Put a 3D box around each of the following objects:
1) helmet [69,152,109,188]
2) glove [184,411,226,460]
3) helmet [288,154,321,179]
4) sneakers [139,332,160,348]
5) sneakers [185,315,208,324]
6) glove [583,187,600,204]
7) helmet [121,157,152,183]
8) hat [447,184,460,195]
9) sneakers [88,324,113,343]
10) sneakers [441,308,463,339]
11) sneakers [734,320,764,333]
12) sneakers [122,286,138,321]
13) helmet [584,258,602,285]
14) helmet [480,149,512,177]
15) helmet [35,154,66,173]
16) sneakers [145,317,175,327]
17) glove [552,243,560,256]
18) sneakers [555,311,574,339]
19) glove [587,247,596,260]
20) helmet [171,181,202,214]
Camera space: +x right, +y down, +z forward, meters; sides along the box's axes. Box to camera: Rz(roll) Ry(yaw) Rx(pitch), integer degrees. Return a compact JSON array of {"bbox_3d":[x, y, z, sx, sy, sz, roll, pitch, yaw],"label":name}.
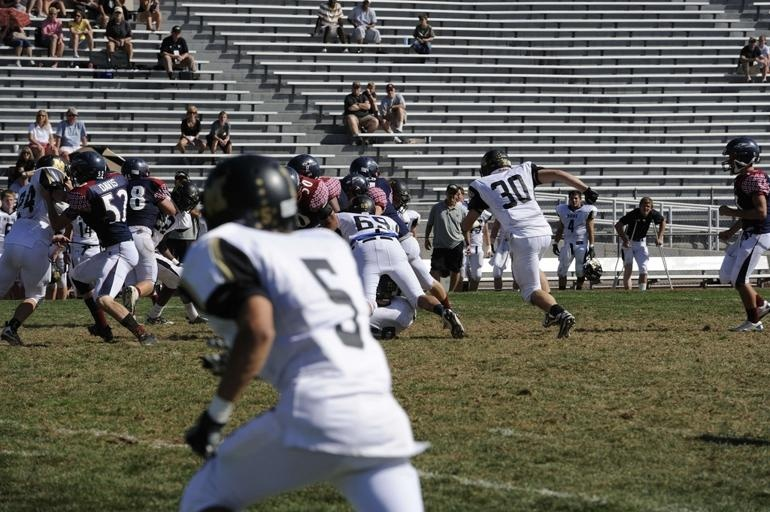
[{"bbox_3d":[-4.803,-1.429,19.698,0.616,0.566,0.485,20,26,33],"label":"helmet"},{"bbox_3d":[-2.102,2.150,14.660,0.269,0.539,0.805,30,6,14],"label":"glove"},{"bbox_3d":[-1.317,-1.501,20.134,0.484,0.362,0.397,-2,-8,-12],"label":"helmet"},{"bbox_3d":[-3.803,1.349,19.592,0.193,0.122,0.265,10,0,-31],"label":"sneakers"},{"bbox_3d":[-3.295,1.104,21.330,0.292,0.139,0.425,-1,3,-17],"label":"sneakers"},{"bbox_3d":[3.352,-0.972,19.438,0.274,0.273,0.095,-10,-25,27],"label":"glove"},{"bbox_3d":[-4.196,-1.463,20.623,0.378,0.384,0.468,12,18,18],"label":"helmet"},{"bbox_3d":[1.434,-1.378,25.111,0.183,0.231,0.223,7,7,17],"label":"hat"},{"bbox_3d":[-4.635,1.250,19.970,0.526,0.284,0.282,1,3,23],"label":"sneakers"},{"bbox_3d":[1.127,1.105,20.103,0.223,0.605,0.269,-43,26,-22],"label":"sneakers"},{"bbox_3d":[6.123,1.181,20.400,0.482,0.199,0.195,1,2,-3],"label":"sneakers"},{"bbox_3d":[-4.191,0.726,20.037,0.230,0.636,0.283,-2,-15,-14],"label":"sneakers"},{"bbox_3d":[4.469,0.303,26.107,0.376,0.471,0.511,-3,0,-20],"label":"helmet"},{"bbox_3d":[1.842,-1.540,20.152,0.390,0.444,0.468,-5,8,-8],"label":"helmet"},{"bbox_3d":[-5.415,-1.498,19.764,0.439,0.274,0.418,-1,3,-16],"label":"helmet"},{"bbox_3d":[-3.900,1.140,21.217,0.536,0.236,0.179,0,7,-10],"label":"sneakers"},{"bbox_3d":[3.739,-0.114,26.357,0.160,0.265,0.266,-6,15,1],"label":"glove"},{"bbox_3d":[2.891,1.066,19.420,0.243,0.512,0.200,30,56,24],"label":"sneakers"},{"bbox_3d":[4.434,-0.079,26.022,0.131,0.225,0.293,1,3,19],"label":"glove"},{"bbox_3d":[-3.506,-1.014,21.464,0.458,0.469,0.394,-39,24,26],"label":"helmet"}]
